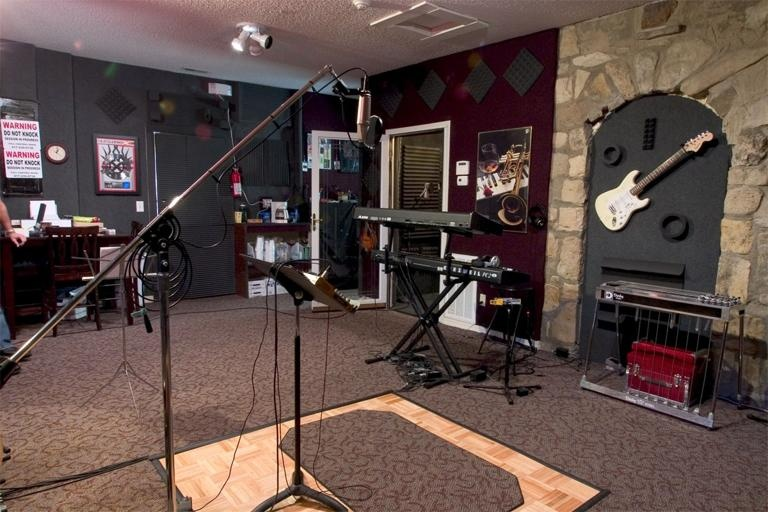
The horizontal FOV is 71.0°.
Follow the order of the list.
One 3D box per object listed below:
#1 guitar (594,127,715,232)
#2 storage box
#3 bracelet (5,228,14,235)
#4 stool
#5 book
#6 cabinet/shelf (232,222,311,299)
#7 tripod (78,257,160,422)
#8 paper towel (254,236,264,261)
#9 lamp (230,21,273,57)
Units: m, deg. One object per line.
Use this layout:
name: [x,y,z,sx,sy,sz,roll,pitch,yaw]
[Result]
guitar: [2.534,-0.688,5.210,0.130,0.451,1.260,10,-35,-30]
storage box: [2.616,0.992,4.909,0.596,0.444,0.609,6,9,44]
bracelet: [-4.023,-0.268,5.795,0.056,0.073,0.027,5,40,-3]
stool: [1.490,0.680,5.953,0.407,0.527,0.406,-11,-2,32]
book: [-3.955,-0.436,6.638,0.806,0.302,0.567,-1,2,-37]
cabinet/shelf: [-1.469,0.046,6.731,1.148,1.029,0.439,-2,2,-37]
tripod: [-2.592,0.591,5.231,0.605,1.389,3.235,-2,5,-28]
paper towel: [-1.838,-0.132,7.972,0.152,0.320,0.253,-1,5,-12]
lamp: [-1.461,-2.373,5.907,0.378,0.197,0.489,-2,5,-23]
